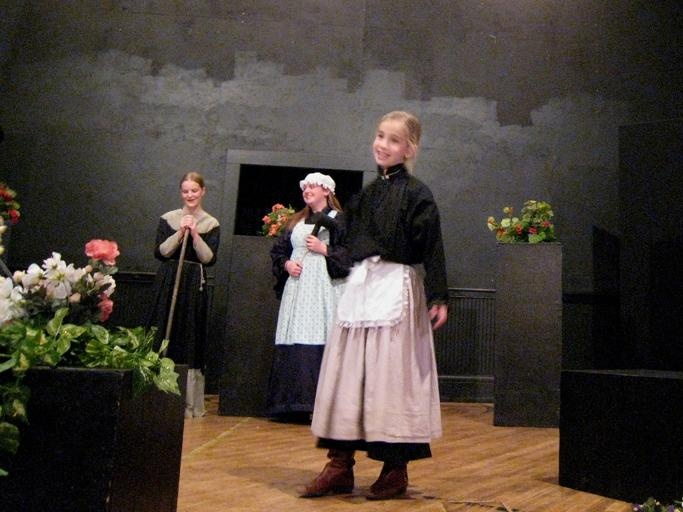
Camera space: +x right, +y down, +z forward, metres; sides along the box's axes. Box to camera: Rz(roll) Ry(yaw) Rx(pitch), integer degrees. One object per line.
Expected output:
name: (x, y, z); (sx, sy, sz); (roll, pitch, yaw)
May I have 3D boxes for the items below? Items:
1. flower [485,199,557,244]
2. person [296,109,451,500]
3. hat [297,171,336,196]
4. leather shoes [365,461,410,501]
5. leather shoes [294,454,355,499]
flower: (1.533, -0.285, 5.274); (0.465, 0.304, 0.461); (14, 33, 23)
person: (0.165, 0.192, 2.908); (0.632, 1.782, 0.248); (-1, -10, 9)
hat: (-0.219, -0.546, 4.805); (0.209, 0.101, 0.228); (-1, 6, -28)
leather shoes: (0.201, 0.988, 2.825); (0.237, 0.174, 0.096); (2, -5, -30)
leather shoes: (-0.052, 0.971, 2.862); (0.279, 0.254, 0.108); (-12, -27, 15)
